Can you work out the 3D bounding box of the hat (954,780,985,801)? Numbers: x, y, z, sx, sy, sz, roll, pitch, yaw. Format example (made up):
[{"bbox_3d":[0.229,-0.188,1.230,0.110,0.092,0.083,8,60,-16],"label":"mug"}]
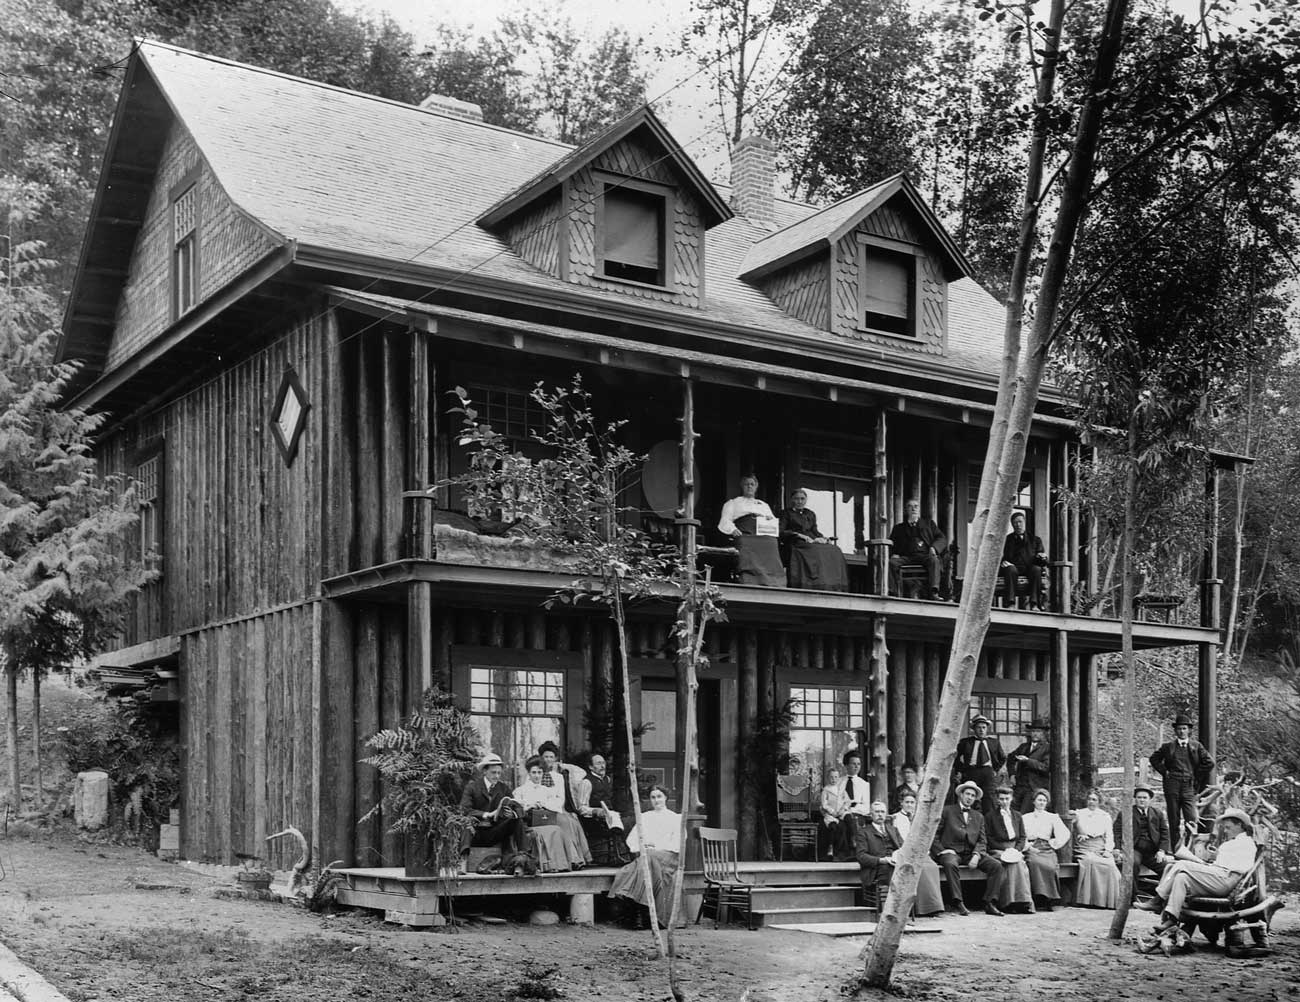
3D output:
[{"bbox_3d":[4.940,4.399,34.267,0.414,0.143,0.445,5,-1,4],"label":"hat"}]

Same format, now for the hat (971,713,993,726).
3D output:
[{"bbox_3d":[5.458,3.543,36.692,0.296,0.107,0.314,1,0,14],"label":"hat"}]

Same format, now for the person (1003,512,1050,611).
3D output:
[{"bbox_3d":[6.216,1.036,36.809,0.900,2.122,1.223,1,-43,8],"label":"person"}]

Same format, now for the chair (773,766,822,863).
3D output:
[{"bbox_3d":[2.322,4.903,35.454,0.742,1.413,0.873,-3,2,-6],"label":"chair"}]

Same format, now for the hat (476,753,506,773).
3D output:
[{"bbox_3d":[-2.241,3.617,31.192,0.394,0.174,0.470,3,-23,-9],"label":"hat"}]

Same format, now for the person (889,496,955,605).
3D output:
[{"bbox_3d":[4.399,0.826,36.247,1.214,2.084,1.118,1,-22,-5],"label":"person"}]

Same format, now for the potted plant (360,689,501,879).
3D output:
[{"bbox_3d":[-3.425,3.744,30.485,2.024,2.816,2.075,-1,-1,37],"label":"potted plant"}]

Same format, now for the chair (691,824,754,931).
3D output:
[{"bbox_3d":[1.069,5.257,31.657,0.797,1.319,1.151,1,-10,2],"label":"chair"}]

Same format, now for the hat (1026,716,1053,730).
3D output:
[{"bbox_3d":[6.648,3.735,38.019,0.317,0.153,0.372,2,-12,8],"label":"hat"}]
